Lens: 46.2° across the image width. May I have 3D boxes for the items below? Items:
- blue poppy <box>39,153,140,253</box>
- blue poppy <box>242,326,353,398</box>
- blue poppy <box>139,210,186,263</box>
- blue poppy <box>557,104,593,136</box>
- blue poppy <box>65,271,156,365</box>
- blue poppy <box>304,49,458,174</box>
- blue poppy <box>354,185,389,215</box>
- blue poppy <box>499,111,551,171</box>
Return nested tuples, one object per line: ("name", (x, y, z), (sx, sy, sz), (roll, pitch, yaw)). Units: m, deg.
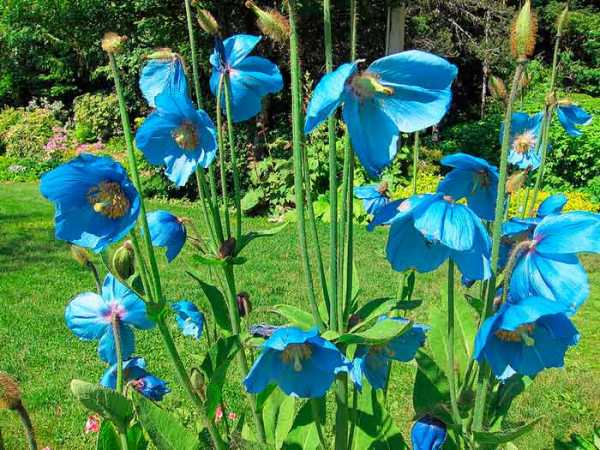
("blue poppy", (-1.003, -0.140, 3.643), (0.457, 0.498, 0.291), (-32, 1, 5))
("blue poppy", (-0.032, 0.671, 3.613), (0.492, 0.214, 0.499), (8, 13, 22))
("blue poppy", (-0.778, 0.049, 3.864), (0.120, 0.269, 0.254), (-24, -20, 33))
("blue poppy", (1.647, -0.625, 4.211), (0.292, 0.197, 0.180), (-12, 17, -44))
("blue poppy", (-1.059, 0.531, 3.885), (0.501, 0.552, 0.243), (8, 14, 29))
("blue poppy", (0.421, -0.585, 3.531), (0.571, 0.666, 0.322), (-11, 43, -4))
("blue poppy", (0.413, -0.155, 4.017), (0.177, 0.189, 0.083), (-34, 7, -20))
("blue poppy", (1.354, -0.516, 4.217), (0.363, 0.418, 0.134), (5, 13, 38))
